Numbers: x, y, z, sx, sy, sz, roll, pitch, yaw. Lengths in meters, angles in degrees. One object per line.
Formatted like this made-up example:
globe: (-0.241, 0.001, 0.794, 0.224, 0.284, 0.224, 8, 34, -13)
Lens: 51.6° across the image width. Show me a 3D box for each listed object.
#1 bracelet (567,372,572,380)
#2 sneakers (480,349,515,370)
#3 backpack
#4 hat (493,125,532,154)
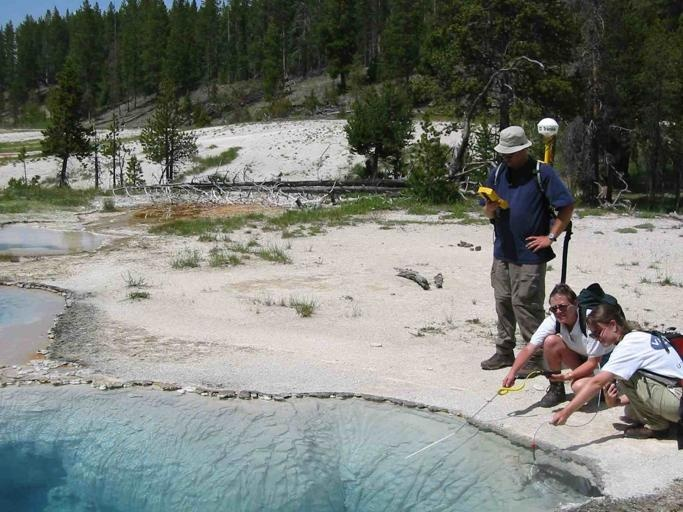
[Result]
bracelet: (2.475, 1.295, 7.572, 0.029, 0.073, 0.063, 43, 3, 25)
sneakers: (1.944, 1.279, 8.719, 0.533, 0.208, 0.181, -5, 13, -4)
backpack: (2.716, 0.550, 7.451, 0.607, 0.547, 0.425, 31, -24, -15)
hat: (2.009, -1.329, 8.120, 0.388, 0.177, 0.344, 4, 33, 15)
